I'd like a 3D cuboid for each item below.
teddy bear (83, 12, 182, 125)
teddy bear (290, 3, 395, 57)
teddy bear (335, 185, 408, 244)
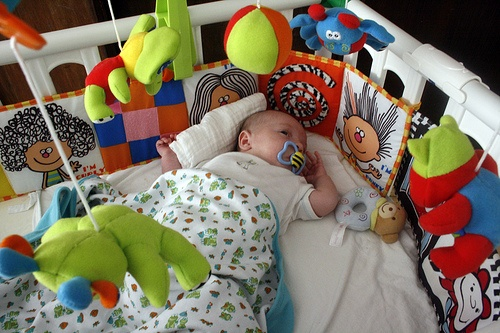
[{"bbox_3d":[-0.456,-0.391,1.391,0.407,0.213,0.377,-29,42,-3],"label":"teddy bear"},{"bbox_3d":[0.328,-0.484,1.290,0.351,0.177,0.176,15,31,30],"label":"teddy bear"},{"bbox_3d":[0.567,0.218,1.691,0.264,0.109,0.265,-4,63,35],"label":"teddy bear"}]
